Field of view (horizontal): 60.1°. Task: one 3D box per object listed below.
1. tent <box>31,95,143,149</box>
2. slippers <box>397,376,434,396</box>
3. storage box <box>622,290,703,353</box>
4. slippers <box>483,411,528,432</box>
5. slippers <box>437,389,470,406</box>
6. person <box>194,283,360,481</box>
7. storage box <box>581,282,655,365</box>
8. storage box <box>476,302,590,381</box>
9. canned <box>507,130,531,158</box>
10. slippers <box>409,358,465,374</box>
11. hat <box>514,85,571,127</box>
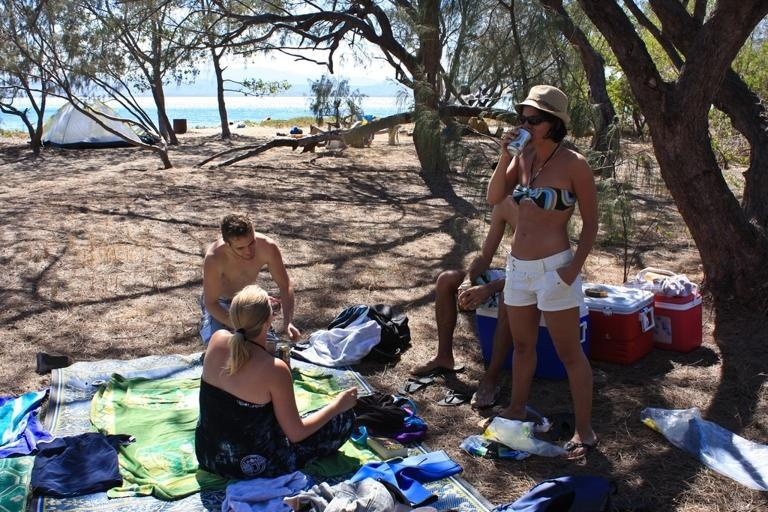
[{"bbox_3d":[-8.588,-3.850,19.221,2.665,1.217,2.189,6,16,33],"label":"tent"},{"bbox_3d":[0.312,1.261,6.472,0.252,0.059,0.159,-21,34,-35],"label":"slippers"},{"bbox_3d":[3.011,0.686,6.937,0.437,0.562,0.578,-12,8,-31],"label":"storage box"},{"bbox_3d":[1.077,1.455,5.853,0.403,0.157,0.432,-17,-23,40],"label":"slippers"},{"bbox_3d":[0.660,1.334,6.232,0.230,0.044,0.134,-5,23,-3],"label":"slippers"},{"bbox_3d":[-0.927,1.127,5.666,1.091,1.116,0.822,15,26,25],"label":"person"},{"bbox_3d":[2.350,0.639,6.690,0.713,0.652,0.718,3,10,30],"label":"storage box"},{"bbox_3d":[1.503,0.775,6.660,1.015,0.711,0.596,5,13,39],"label":"storage box"},{"bbox_3d":[1.093,-0.927,5.311,0.125,0.199,0.248,8,17,38],"label":"canned"},{"bbox_3d":[0.529,1.097,6.751,0.574,0.237,0.195,1,0,-1],"label":"slippers"},{"bbox_3d":[1.302,-1.238,5.419,0.404,0.323,0.242,0,13,10],"label":"hat"}]
